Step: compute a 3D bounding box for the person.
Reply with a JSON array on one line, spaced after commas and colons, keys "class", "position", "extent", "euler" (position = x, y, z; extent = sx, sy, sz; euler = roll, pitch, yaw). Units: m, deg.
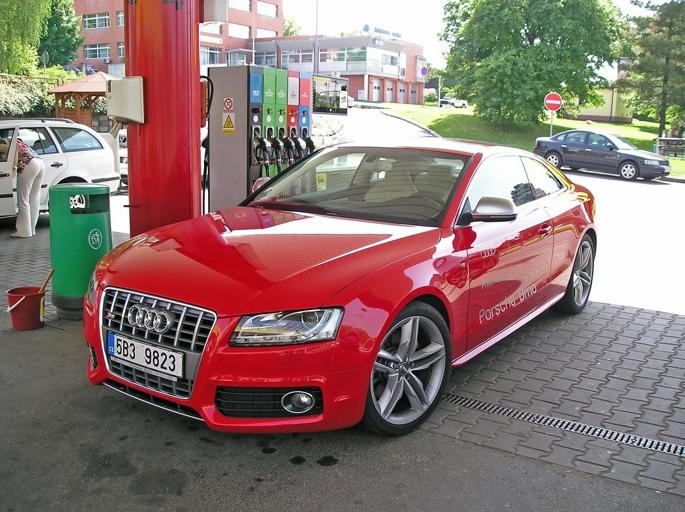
[{"class": "person", "position": [-6.178, -1.347, 8.894], "extent": [0.574, 1.882, 0.740], "euler": [-2, 12, -22]}]

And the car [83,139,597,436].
[{"class": "car", "position": [0.135, 0.235, 3.311], "extent": [1.285, 0.732, 2.740], "euler": [9, 15, 37]}]

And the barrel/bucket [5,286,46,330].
[{"class": "barrel/bucket", "position": [-3.200, 0.532, 4.734], "extent": [0.463, 0.345, 0.441], "euler": [2, 1, 0]}]
